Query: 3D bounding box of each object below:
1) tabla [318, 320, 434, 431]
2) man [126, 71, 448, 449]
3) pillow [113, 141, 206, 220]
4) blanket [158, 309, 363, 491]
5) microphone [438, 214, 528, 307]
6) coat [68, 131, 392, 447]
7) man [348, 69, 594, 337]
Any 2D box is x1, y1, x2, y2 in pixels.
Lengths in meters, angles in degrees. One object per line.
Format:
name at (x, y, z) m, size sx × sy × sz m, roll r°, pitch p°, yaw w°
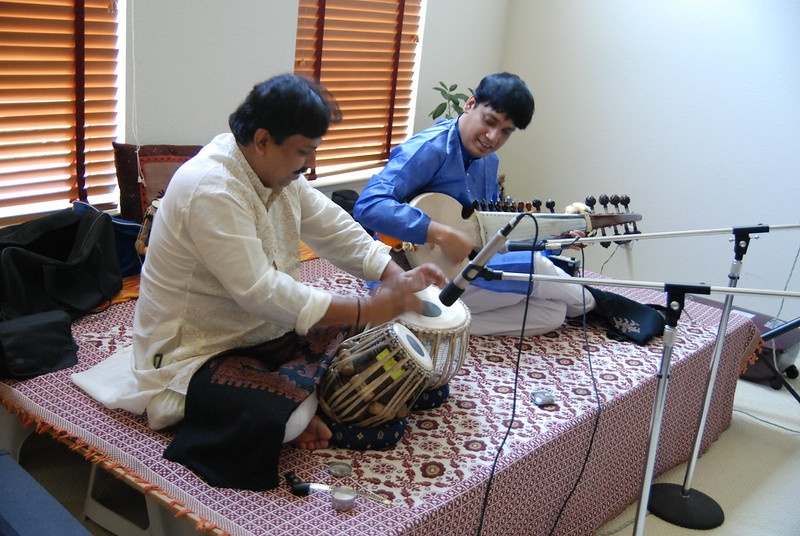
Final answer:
tabla at (-0.139, 0.521, 2.382) m, size 0.327 × 0.402 × 0.319 m, roll 41°, pitch -14°, yaw -32°
man at (-0.432, -0.049, 2.510) m, size 1.189 × 1.472 × 1.114 m, roll 13°, pitch 17°, yaw 23°
pillow at (-1.657, -0.607, 3.704) m, size 0.608 × 0.571 × 0.179 m, roll -8°, pitch 12°, yaw -44°
blanket at (-0.565, 0.524, 2.282) m, size 0.455 × 0.409 × 0.619 m, roll 13°, pitch 22°, yaw 23°
microphone at (0.418, -0.019, 2.793) m, size 0.096 × 0.652 × 0.106 m, roll 49°, pitch 22°, yaw 18°
coat at (-0.447, 0.037, 2.645) m, size 1.473 × 1.252 × 1.103 m, roll 8°, pitch 23°, yaw 5°
man at (0.557, -0.408, 3.860) m, size 1.525 × 1.852 × 1.368 m, roll 14°, pitch 9°, yaw 19°
